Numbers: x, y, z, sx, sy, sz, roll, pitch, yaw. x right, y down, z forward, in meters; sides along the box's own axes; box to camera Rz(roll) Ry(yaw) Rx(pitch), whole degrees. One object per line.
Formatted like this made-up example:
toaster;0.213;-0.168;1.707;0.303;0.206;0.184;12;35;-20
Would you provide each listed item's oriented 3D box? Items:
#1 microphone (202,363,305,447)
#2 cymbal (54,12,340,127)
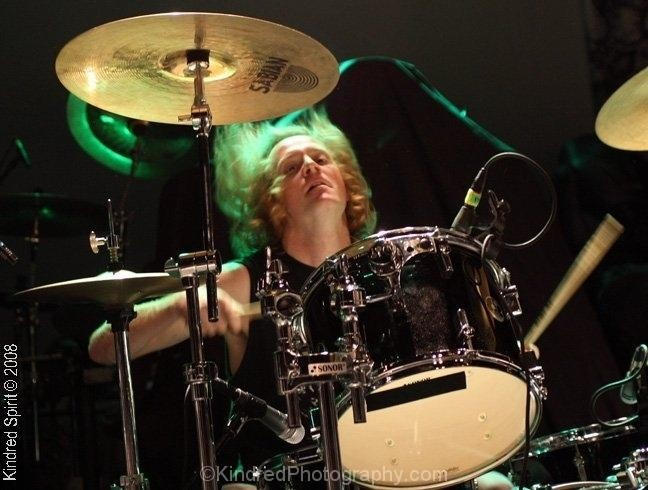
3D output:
microphone;-0.239;0.536;2.361;0.544;0.124;0.117;39;-32;-29
cymbal;-0.386;-0.543;2.284;0.732;0.168;0.723;21;38;19
